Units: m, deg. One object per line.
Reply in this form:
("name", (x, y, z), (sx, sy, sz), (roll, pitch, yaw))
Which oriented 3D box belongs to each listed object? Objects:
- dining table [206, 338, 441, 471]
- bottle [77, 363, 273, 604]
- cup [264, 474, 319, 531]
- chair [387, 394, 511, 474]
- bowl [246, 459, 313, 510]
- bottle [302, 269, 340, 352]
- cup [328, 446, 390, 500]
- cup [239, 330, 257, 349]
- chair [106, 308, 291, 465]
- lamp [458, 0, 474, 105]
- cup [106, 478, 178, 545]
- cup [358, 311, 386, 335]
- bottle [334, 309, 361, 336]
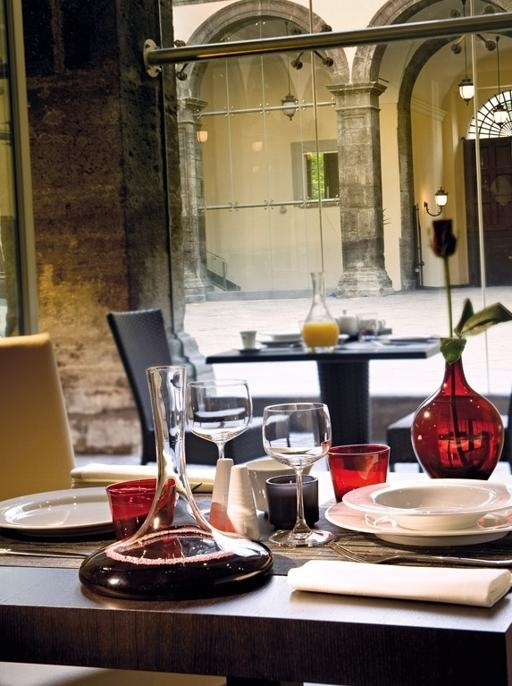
("dining table", (0.332, 0.140, 2.854), (0.591, 0.516, 0.568), (-1, 8, 11))
("bottle", (-0.050, 0.108, 0.703), (0.193, 0.191, 0.192), (0, 1, 24))
("cup", (0.036, 0.177, 0.837), (0.064, 0.059, 0.062), (0, 0, 0))
("chair", (0.628, 0.345, 2.485), (0.367, 0.254, 0.560), (-1, 8, 14))
("bowl", (0.028, 0.162, 0.922), (0.072, 0.050, 0.074), (-1, 1, 0))
("bottle", (0.223, -0.118, 2.761), (0.127, 0.282, 0.208), (-6, 8, 3))
("cup", (0.120, 0.150, 0.898), (0.068, 0.054, 0.073), (-2, -5, 0))
("cup", (-0.016, -0.009, 2.929), (0.092, 0.085, 0.066), (-2, -2, 26))
("chair", (-0.117, 0.132, 2.838), (0.631, 0.820, 0.513), (-3, 4, 18))
("lamp", (1.191, -1.672, 4.324), (0.086, 0.581, 0.137), (-2, 10, 30))
("cup", (-0.111, 0.151, 0.718), (0.072, 0.055, 0.079), (-1, -6, 0))
("cup", (0.453, -0.069, 3.016), (0.117, 0.092, 0.072), (1, 3, 7))
("bottle", (0.379, -0.084, 3.130), (0.091, 0.077, 0.086), (-4, 3, 0))
